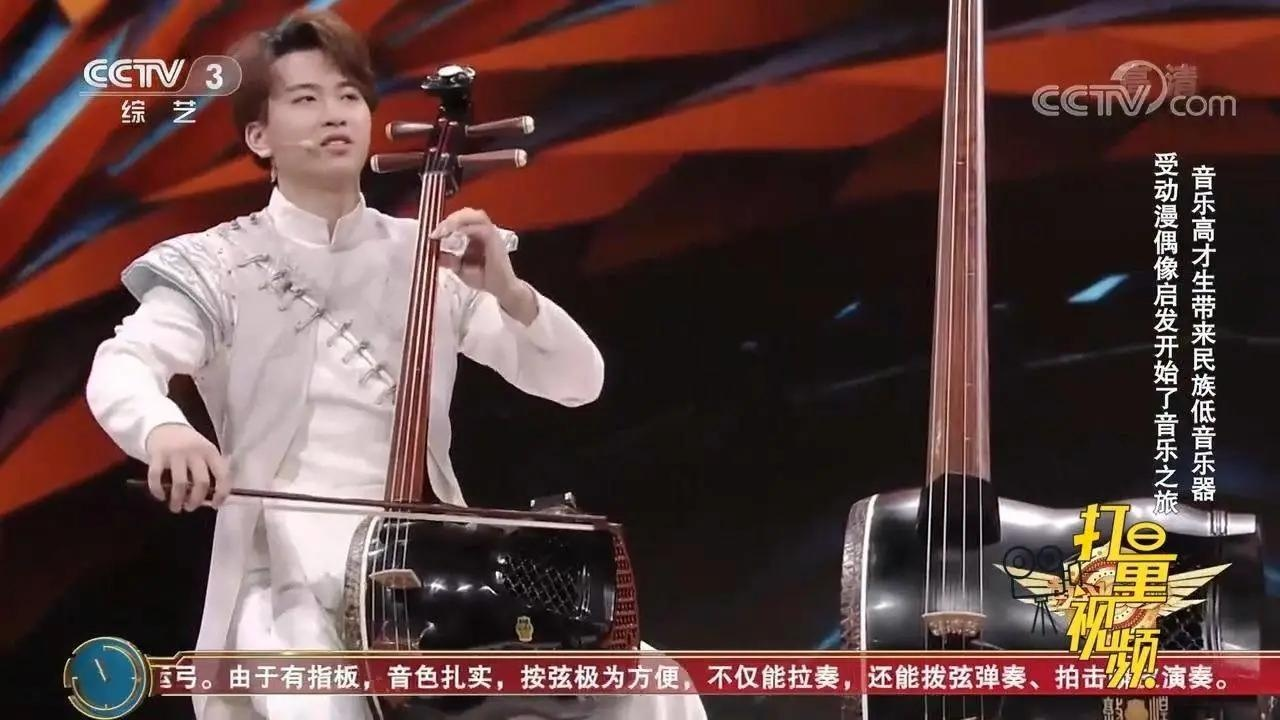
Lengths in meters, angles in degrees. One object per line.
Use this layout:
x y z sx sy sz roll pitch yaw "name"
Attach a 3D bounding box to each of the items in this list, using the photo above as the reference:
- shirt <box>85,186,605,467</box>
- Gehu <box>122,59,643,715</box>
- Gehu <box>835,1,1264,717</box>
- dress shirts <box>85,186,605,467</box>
-1.202 -0.112 5.209 1.383 1.022 1.731 -1 4 -26 "shirt"
-0.945 0.008 5.015 1.280 1.938 1.473 1 3 -13 "Gehu"
1.170 -0.063 4.586 1.252 2.219 0.465 -6 -8 7 "Gehu"
-1.111 -0.071 4.878 1.322 1.061 0.494 -7 -9 -7 "dress shirts"
